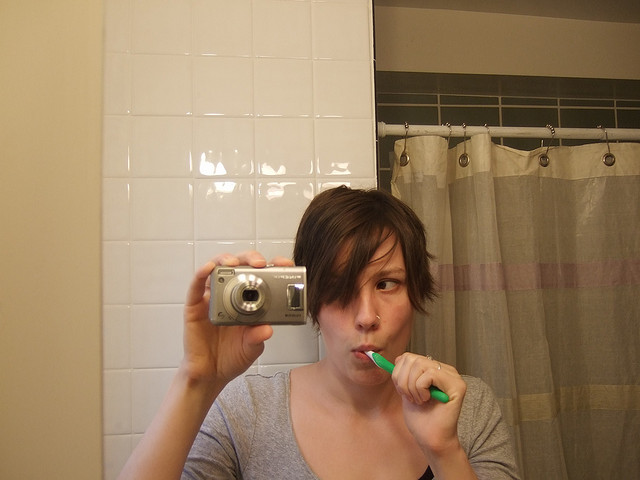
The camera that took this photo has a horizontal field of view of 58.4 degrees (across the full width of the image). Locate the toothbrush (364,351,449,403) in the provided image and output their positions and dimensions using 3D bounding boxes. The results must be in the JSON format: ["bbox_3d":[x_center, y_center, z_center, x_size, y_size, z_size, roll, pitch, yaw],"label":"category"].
[{"bbox_3d":[0.234,0.385,1.600,0.276,0.041,0.042,37,25,32],"label":"toothbrush"}]

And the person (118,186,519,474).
[{"bbox_3d":[0.028,0.270,1.684,1.104,0.848,0.349,-1,1,-1],"label":"person"}]
